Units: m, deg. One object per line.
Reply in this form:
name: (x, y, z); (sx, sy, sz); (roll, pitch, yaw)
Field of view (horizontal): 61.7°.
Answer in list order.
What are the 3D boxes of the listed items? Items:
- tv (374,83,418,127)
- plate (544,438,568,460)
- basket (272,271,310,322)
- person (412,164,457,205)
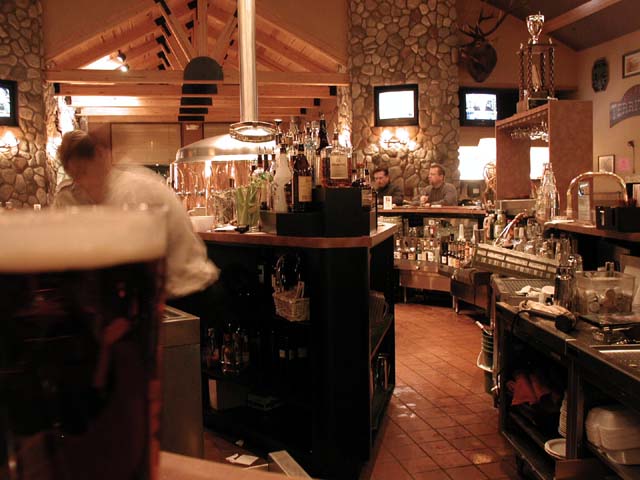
tv: (1.267, -2.227, 8.883); (0.622, 0.594, 0.068); (0, -1, 0)
plate: (0.987, 0.872, 2.250); (0.091, 0.017, 0.097); (-1, 8, 16)
basket: (-0.174, 0.291, 2.881); (0.207, 0.222, 0.214); (-2, 6, -23)
person: (1.756, -0.756, 7.995); (0.565, 0.717, 0.789); (1, 0, -25)
